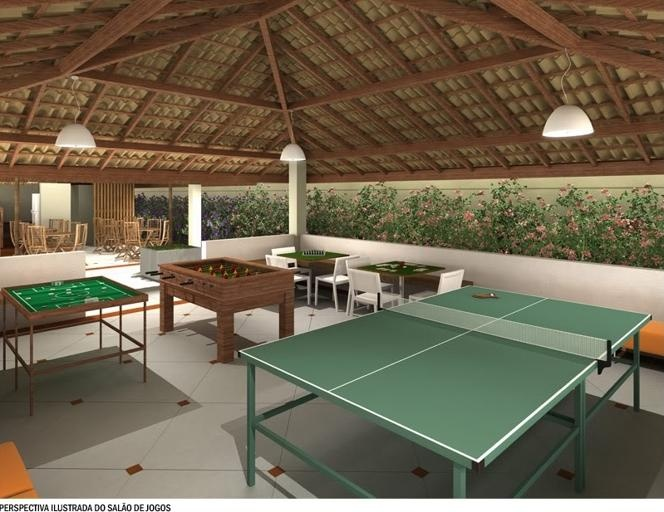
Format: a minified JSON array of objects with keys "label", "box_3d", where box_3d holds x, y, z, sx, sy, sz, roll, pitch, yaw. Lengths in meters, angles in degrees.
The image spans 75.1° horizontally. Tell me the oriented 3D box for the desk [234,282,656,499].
[{"label":"desk","box_3d":[1.091,0.876,3.607,1.861,0.724,3.119,13,16,42]}]
